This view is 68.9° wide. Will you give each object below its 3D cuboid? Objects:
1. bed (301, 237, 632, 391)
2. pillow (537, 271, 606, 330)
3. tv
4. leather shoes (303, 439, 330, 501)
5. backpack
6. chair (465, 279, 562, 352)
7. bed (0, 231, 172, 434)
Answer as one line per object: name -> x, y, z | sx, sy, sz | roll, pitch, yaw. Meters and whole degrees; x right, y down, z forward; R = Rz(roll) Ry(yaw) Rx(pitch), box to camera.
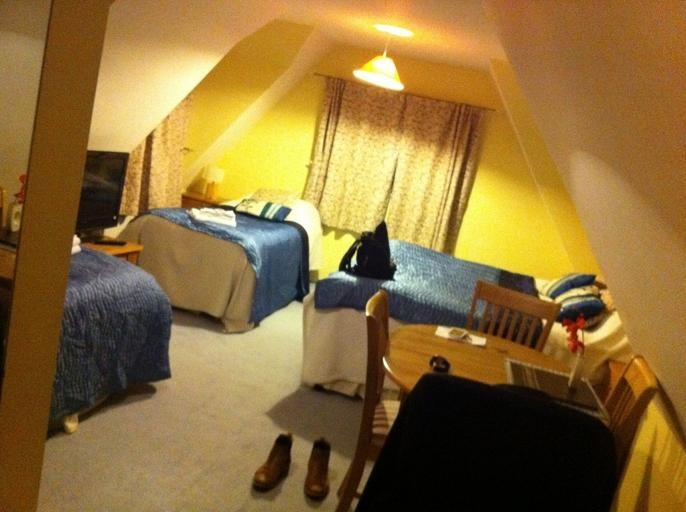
bed -> 0.529, 0.432, 3.625 | 1.339, 0.583, 1.393 | 18, 14, 10
pillow -> 1.730, 0.335, 3.762 | 0.298, 0.095, 0.310 | -26, 17, 18
tv -> -1.801, -0.494, 3.760 | 0.088, 0.639, 0.418 | 13, 7, 11
leather shoes -> -0.120, 1.085, 2.547 | 0.085, 0.110, 0.264 | 6, 10, -3
backpack -> 0.228, 0.011, 3.745 | 0.347, 0.479, 0.198 | 7, -8, 28
chair -> 1.106, 0.395, 3.272 | 0.288, 0.537, 0.333 | 21, 12, 13
bed -> -1.434, 0.284, 2.766 | 0.821, 0.442, 0.834 | 33, 24, 26
